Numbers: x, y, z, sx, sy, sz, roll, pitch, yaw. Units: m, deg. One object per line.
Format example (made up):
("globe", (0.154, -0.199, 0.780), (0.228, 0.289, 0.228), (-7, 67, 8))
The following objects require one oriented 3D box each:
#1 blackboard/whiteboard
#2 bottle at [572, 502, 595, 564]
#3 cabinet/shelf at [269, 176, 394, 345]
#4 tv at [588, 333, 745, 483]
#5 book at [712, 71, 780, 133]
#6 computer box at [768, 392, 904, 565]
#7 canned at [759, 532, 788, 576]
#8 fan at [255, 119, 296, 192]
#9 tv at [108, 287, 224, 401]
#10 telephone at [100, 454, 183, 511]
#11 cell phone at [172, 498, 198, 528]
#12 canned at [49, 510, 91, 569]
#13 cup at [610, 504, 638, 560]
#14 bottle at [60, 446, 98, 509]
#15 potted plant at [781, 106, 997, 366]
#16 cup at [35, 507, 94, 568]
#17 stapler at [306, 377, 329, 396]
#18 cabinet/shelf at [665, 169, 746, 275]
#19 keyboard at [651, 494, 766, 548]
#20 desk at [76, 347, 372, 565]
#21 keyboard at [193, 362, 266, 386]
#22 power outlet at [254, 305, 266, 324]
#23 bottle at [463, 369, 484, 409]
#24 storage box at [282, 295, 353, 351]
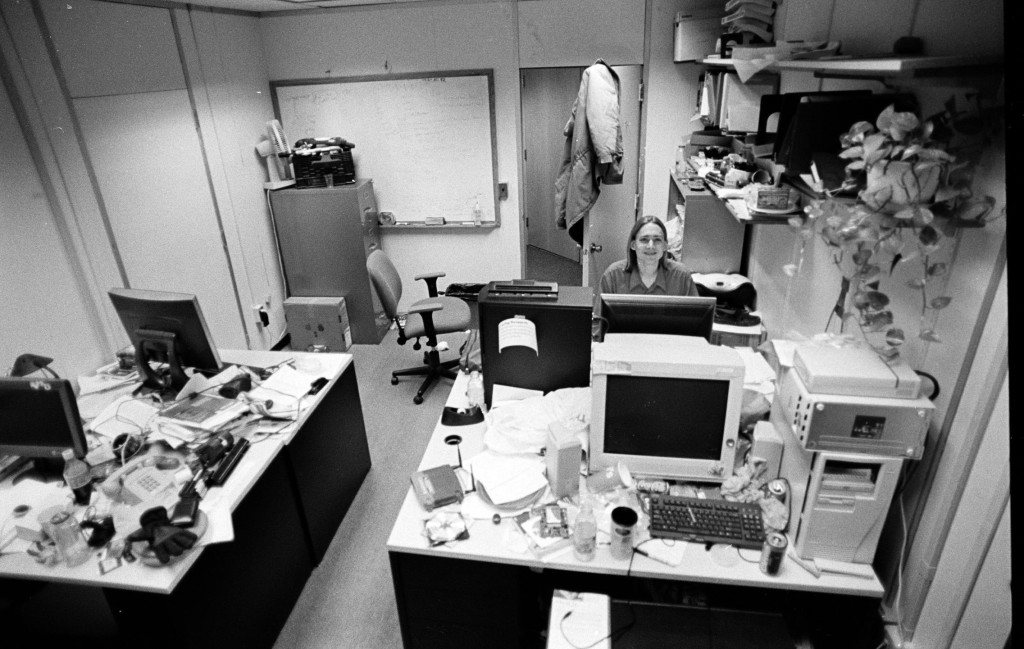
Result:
("blackboard/whiteboard", (-1.163, -1.589, 5.937), (1.707, 1.123, 0.163), (0, 31, 5))
("bottle", (0.330, 0.980, 3.115), (0.114, 0.268, 0.111), (-1, 32, 0))
("cabinet/shelf", (-1.619, -0.553, 5.884), (0.991, 1.764, 0.835), (0, 28, 7))
("tv", (0.686, 0.347, 3.517), (0.889, 0.800, 0.640), (1, 15, 6))
("book", (1.487, -1.444, 4.369), (0.472, 0.421, 0.113), (4, 6, 6))
("computer box", (1.553, 0.730, 3.272), (0.362, 0.573, 0.585), (0, 23, 8))
("canned", (1.204, 1.020, 3.083), (0.106, 0.183, 0.183), (8, 25, 24))
("fan", (-2.062, -1.471, 5.820), (0.287, 0.538, 0.344), (-16, 26, -28))
("tv", (-2.065, 0.142, 3.962), (0.582, 0.550, 0.332), (8, 26, 9))
("telephone", (-1.857, 0.779, 3.378), (0.362, 0.123, 0.354), (-8, 23, -12))
("cell phone", (-1.573, 0.909, 3.251), (0.108, 0.086, 0.151), (-9, 23, -15))
("canned", (-2.092, 1.024, 3.190), (0.072, 0.262, 0.137), (-22, 8, 39))
("cup", (0.517, 0.970, 3.104), (0.158, 0.245, 0.155), (-1, 30, 0))
("bottle", (-2.174, 0.743, 3.376), (0.132, 0.269, 0.250), (-21, 29, -35))
("potted plant", (1.677, -0.382, 3.077), (0.512, 1.162, 0.751), (-12, 24, -19))
("cup", (-2.111, 0.982, 3.182), (0.299, 0.092, 0.182), (45, 24, 15))
("stapler", (-1.159, 0.373, 4.054), (0.045, 0.056, 0.146), (-1, 28, 26))
("cabinet/shelf", (1.451, -0.730, 4.981), (0.326, 0.481, 0.830), (-1, 28, 5))
("keyboard", (0.920, 0.939, 3.202), (0.527, 0.161, 0.171), (1, 23, 9))
("desk", (-1.537, 0.740, 4.042), (1.154, 1.047, 1.114), (0, 35, 1))
("keyboard", (-1.630, 0.307, 4.003), (0.181, 0.044, 0.193), (3, 21, -2))
("power outlet", (-2.165, -0.081, 5.783), (0.052, 0.141, 0.080), (-1, 54, -7))
("bottle", (-0.211, 0.378, 3.901), (0.060, 0.176, 0.132), (9, -11, -36))
("storage box", (-1.685, -0.014, 5.904), (0.487, 0.454, 0.166), (2, 30, 3))
